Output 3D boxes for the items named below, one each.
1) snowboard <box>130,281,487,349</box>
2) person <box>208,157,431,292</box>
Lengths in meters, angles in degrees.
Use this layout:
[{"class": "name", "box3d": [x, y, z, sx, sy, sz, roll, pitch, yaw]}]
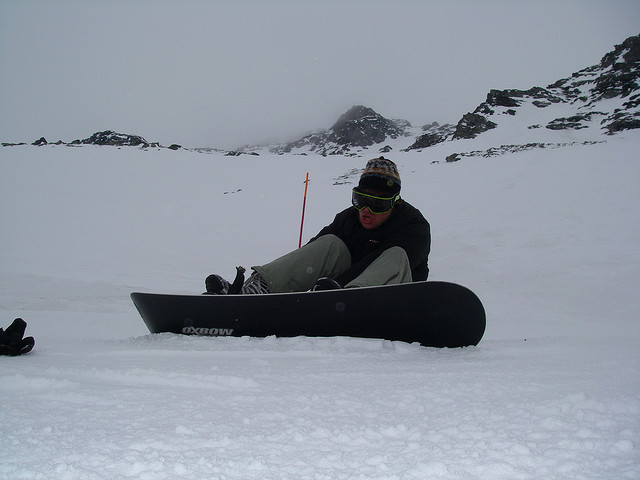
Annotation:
[{"class": "snowboard", "box3d": [-0.076, 0.391, 3.073, 1.938, 0.346, 0.603, 1, -19, 3]}, {"class": "person", "box3d": [0.052, -0.084, 3.313, 1.208, 0.727, 0.727, -3, 8, -24]}]
